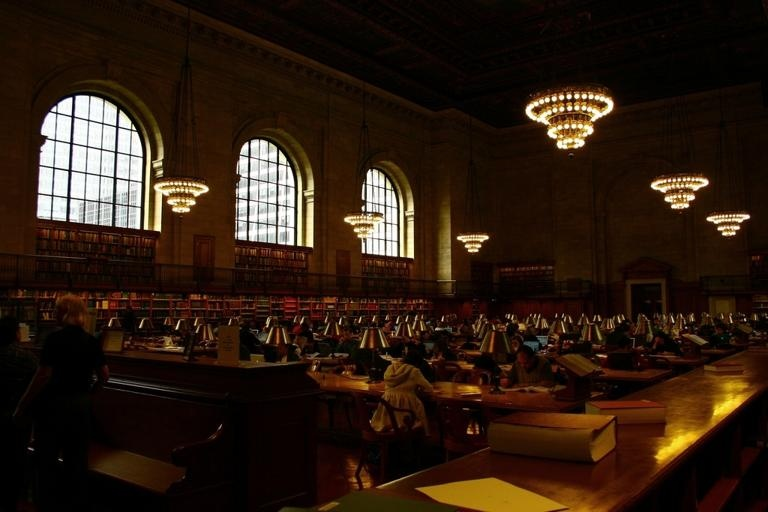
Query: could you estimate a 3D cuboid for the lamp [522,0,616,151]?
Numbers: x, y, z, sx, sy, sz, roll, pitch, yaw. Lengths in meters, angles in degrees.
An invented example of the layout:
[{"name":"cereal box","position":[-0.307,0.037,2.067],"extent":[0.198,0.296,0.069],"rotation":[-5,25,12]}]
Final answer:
[{"name":"lamp","position":[4.013,-3.373,13.279],"extent":[1.674,2.018,1.711],"rotation":[-2,-3,20]}]
